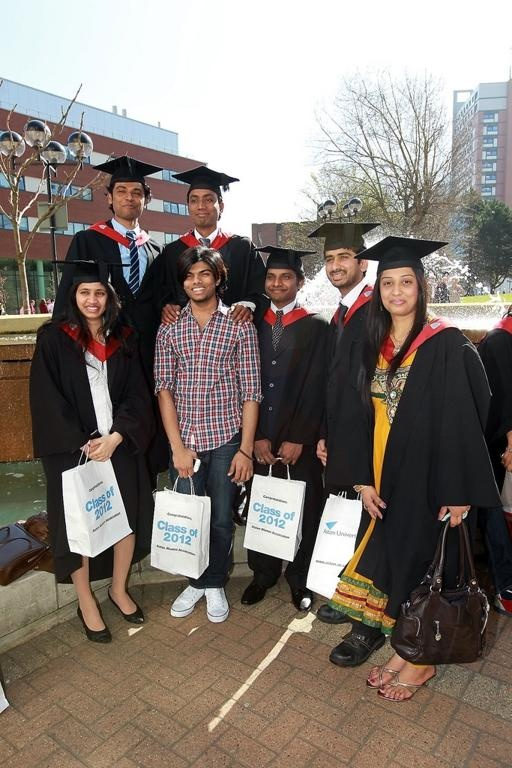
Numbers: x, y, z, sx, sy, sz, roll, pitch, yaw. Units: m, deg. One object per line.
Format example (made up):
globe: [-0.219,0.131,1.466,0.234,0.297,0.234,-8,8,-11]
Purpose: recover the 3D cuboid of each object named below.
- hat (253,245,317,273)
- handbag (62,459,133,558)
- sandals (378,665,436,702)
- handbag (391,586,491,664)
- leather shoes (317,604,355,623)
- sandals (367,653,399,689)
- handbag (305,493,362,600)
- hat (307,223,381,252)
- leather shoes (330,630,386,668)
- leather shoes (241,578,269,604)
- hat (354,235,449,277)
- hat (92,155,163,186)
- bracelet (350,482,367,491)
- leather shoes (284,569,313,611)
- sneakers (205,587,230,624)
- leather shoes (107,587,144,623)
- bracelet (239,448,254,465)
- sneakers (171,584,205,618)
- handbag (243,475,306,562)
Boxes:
hat: [0.159,-0.697,3.118,0.265,0.112,0.194,2,-1,21]
handbag: [-0.777,0.581,2.622,0.184,0.448,0.343,1,8,16]
sandals: [0.653,1.256,2.362,0.289,0.114,0.109,-5,8,-32]
handbag: [0.735,0.965,2.218,0.405,0.399,0.192,-2,9,-1]
leather shoes: [0.424,1.226,2.965,0.201,0.080,0.102,18,1,5]
sandals: [0.581,1.252,2.410,0.184,0.048,0.083,-36,26,-19]
handbag: [0.375,0.787,2.651,0.256,0.479,0.136,1,8,14]
hat: [0.536,-0.831,3.129,0.271,0.113,0.259,-7,9,-41]
leather shoes: [0.484,1.226,2.630,0.271,0.118,0.112,-5,8,-41]
leather shoes: [-0.014,1.195,3.182,0.066,0.069,0.185,8,-1,21]
hat: [0.625,-0.578,2.432,0.297,0.091,0.291,-2,1,-40]
hat: [-0.798,-1.315,3.441,0.338,0.126,0.318,5,18,13]
bracelet: [0.486,0.488,2.589,0.065,0.022,0.053,1,-16,-12]
leather shoes: [0.238,1.173,3.141,0.095,0.112,0.264,-16,47,0]
sneakers: [-0.211,1.188,2.949,0.078,0.077,0.202,-5,9,-2]
leather shoes: [-0.708,1.201,2.982,0.098,0.040,0.278,-9,32,-44]
bracelet: [-0.059,0.388,2.912,0.065,0.025,0.085,9,-23,45]
sneakers: [-0.384,1.194,3.051,0.084,0.089,0.235,9,6,21]
handbag: [0.092,0.696,2.912,0.330,0.413,0.122,5,10,39]
